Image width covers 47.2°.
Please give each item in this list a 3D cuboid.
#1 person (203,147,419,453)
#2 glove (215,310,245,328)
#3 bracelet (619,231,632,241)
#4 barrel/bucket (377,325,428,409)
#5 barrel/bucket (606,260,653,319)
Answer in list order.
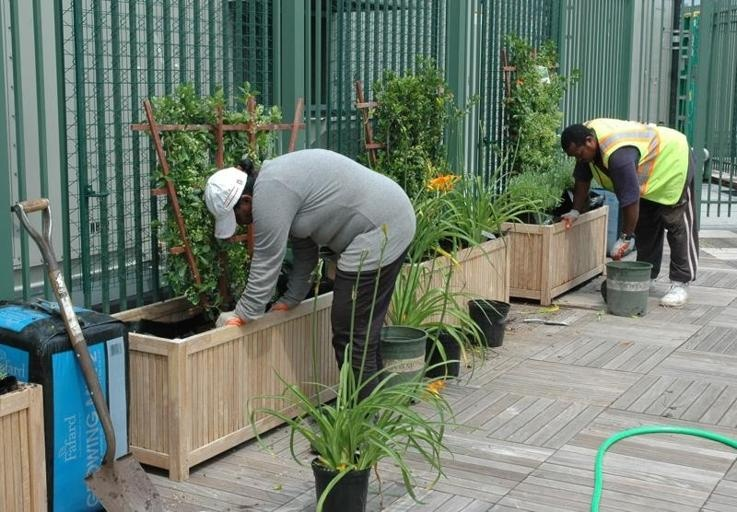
[{"bbox_3d":[-0.331,0.120,5.315,1.198,1.551,0.609,-1,12,10],"label":"person"},{"bbox_3d":[-0.866,0.393,5.225,0.124,0.055,0.106,-1,13,-18],"label":"glove"},{"bbox_3d":[2.301,-0.174,7.565,0.081,0.076,0.049,-7,3,5],"label":"bracelet"},{"bbox_3d":[0.195,0.708,5.791,0.404,0.528,0.419,0,10,0],"label":"barrel/bucket"},{"bbox_3d":[2.294,0.264,7.589,0.429,0.516,0.409,-1,9,0],"label":"barrel/bucket"}]
